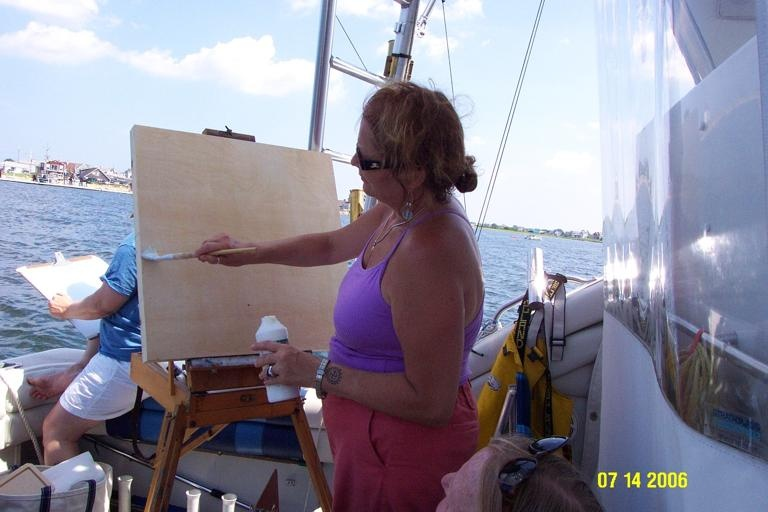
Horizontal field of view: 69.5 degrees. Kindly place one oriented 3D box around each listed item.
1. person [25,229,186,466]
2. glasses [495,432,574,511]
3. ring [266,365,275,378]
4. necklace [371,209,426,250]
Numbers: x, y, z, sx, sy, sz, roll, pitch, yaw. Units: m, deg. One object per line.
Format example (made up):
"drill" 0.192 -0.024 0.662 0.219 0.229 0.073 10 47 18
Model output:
"person" -1.460 0.485 2.881 0.566 1.202 0.325 2 -2 29
"glasses" 0.331 0.485 1.288 0.147 0.163 0.045 -8 12 -33
"ring" -0.343 0.357 1.708 0.017 0.035 0.026 -2 -17 2
"necklace" 0.046 -0.060 1.715 0.042 0.072 0.234 25 -59 -34
